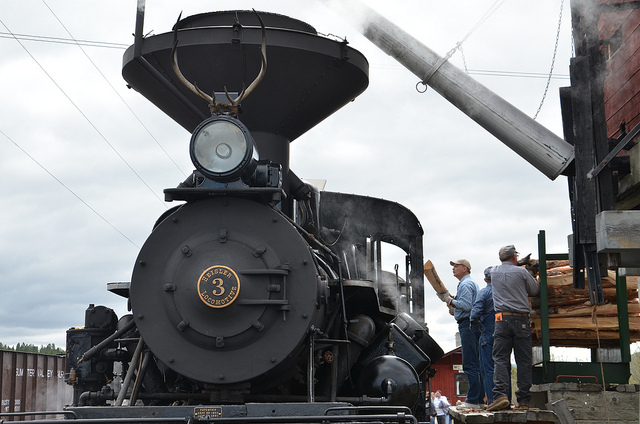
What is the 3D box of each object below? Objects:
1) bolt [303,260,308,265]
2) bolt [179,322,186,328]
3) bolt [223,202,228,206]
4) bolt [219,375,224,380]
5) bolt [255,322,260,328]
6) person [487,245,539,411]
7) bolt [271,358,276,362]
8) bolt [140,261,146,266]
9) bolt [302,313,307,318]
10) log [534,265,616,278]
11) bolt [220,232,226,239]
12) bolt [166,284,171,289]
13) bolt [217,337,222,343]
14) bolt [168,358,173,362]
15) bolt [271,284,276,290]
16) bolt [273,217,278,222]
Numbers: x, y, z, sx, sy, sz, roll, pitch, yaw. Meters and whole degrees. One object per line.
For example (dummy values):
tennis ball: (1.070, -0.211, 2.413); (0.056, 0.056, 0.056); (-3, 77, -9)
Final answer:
bolt: (-0.188, 0.673, 9.499); (0.059, 0.058, 0.013); (-3, -16, -6)
bolt: (-1.779, 1.474, 9.325); (0.073, 0.074, 0.033); (-9, -16, 17)
bolt: (-1.270, -0.099, 9.659); (0.051, 0.043, 0.010); (-3, -16, -6)
bolt: (-1.258, 2.132, 9.227); (0.057, 0.048, 0.034); (-2, -16, -9)
bolt: (-0.804, 1.471, 9.279); (0.052, 0.076, 0.019); (0, 2, 4)
person: (2.690, 1.582, 9.968); (0.766, 2.247, 0.311); (-7, -16, 10)
bolt: (-0.601, 1.917, 9.256); (0.041, 0.041, 0.020); (-2, -16, -9)
bolt: (-2.349, 0.689, 9.534); (0.056, 0.057, 0.022); (3, -6, -2)
bolt: (-0.191, 1.357, 9.354); (0.058, 0.057, 0.019); (-10, -16, 18)
log: (3.918, 0.980, 11.735); (0.568, 0.147, 0.519); (4, -13, -11)
bolt: (-1.279, 0.319, 9.506); (0.076, 0.075, 0.018); (-3, -16, -7)
bolt: (-1.974, 0.974, 9.397); (0.038, 0.047, 0.051); (4, -11, -31)
bolt: (-1.292, 1.662, 9.258); (0.061, 0.062, 0.016); (3, -1, 6)
bolt: (-1.923, 1.925, 9.296); (0.044, 0.042, 0.015); (-4, -15, -2)
bolt: (-0.601, 0.991, 9.371); (0.060, 0.060, 0.013); (-2, -16, -9)
bolt: (-0.596, 0.103, 9.620); (0.053, 0.059, 0.013); (-4, -15, -1)
